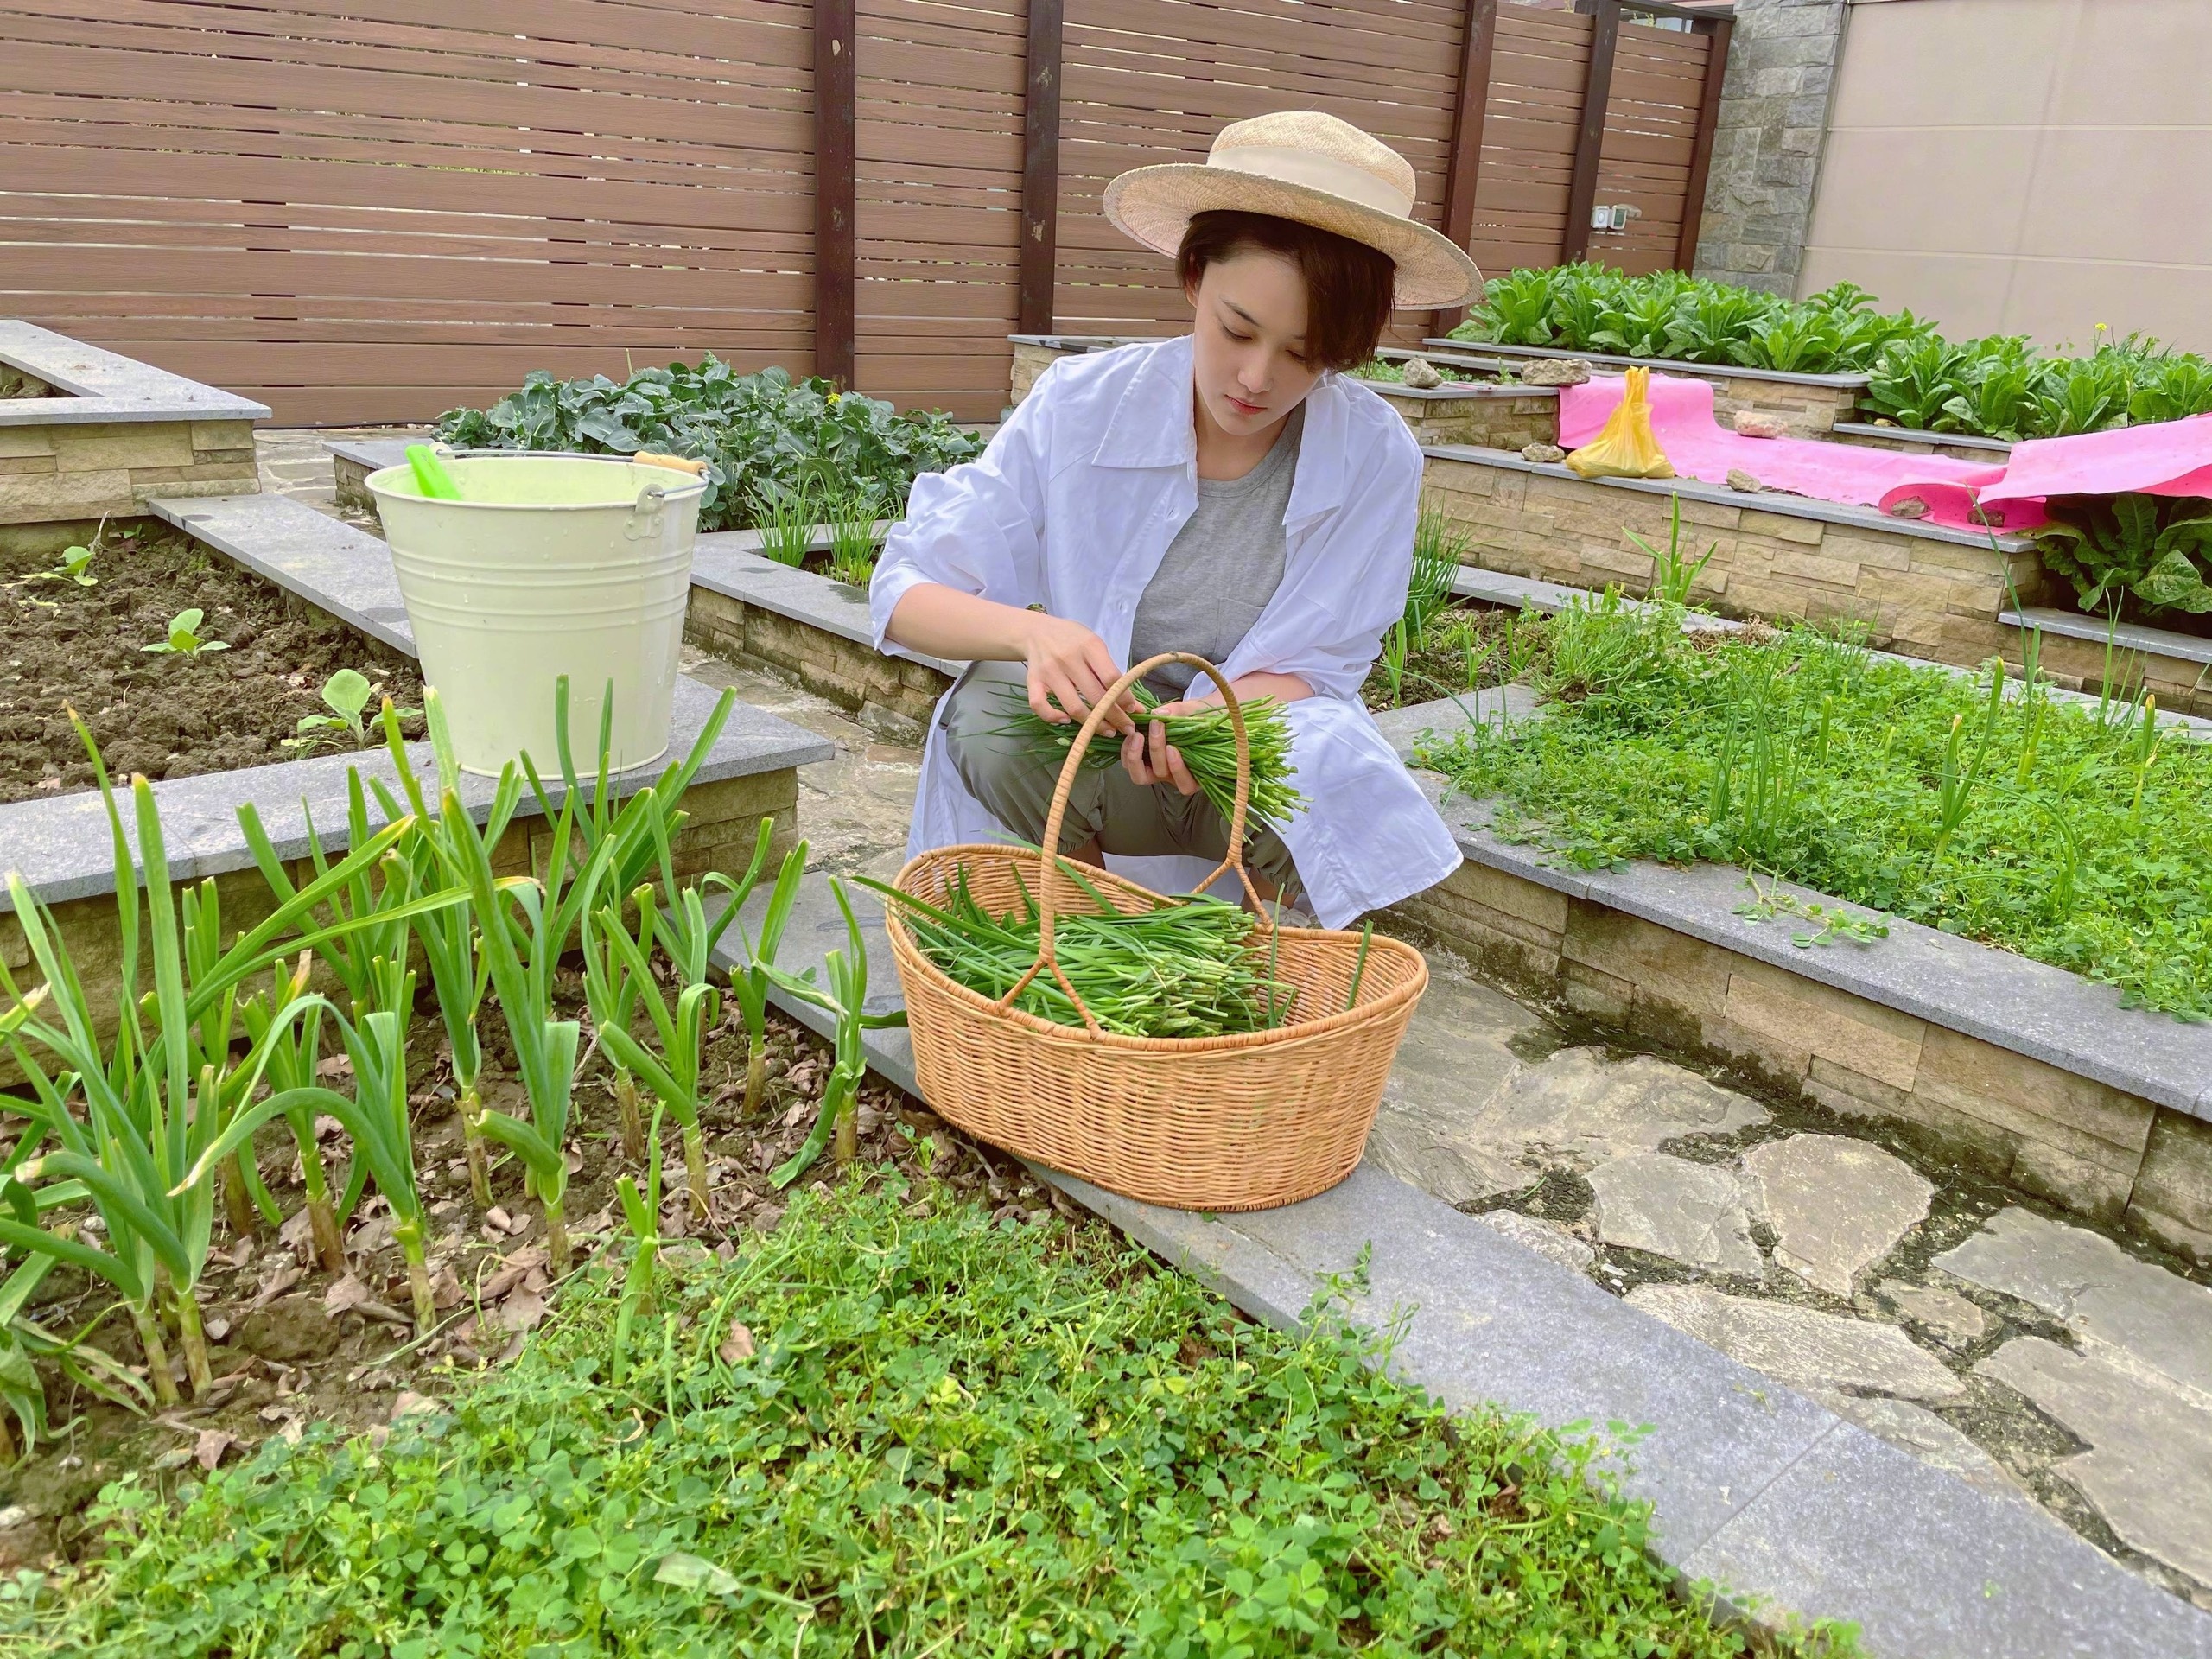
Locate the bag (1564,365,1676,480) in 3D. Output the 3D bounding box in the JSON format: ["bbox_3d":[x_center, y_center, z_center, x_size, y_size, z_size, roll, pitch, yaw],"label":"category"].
[{"bbox_3d":[2.015,-1.591,6.046,0.454,0.525,0.450,-3,27,2],"label":"bag"}]

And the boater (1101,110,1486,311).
[{"bbox_3d":[0.317,-1.071,2.547,0.669,0.283,0.498,8,20,7],"label":"boater"}]

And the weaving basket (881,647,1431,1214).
[{"bbox_3d":[0.068,0.108,2.328,0.860,0.801,0.535,9,20,13],"label":"weaving basket"}]
